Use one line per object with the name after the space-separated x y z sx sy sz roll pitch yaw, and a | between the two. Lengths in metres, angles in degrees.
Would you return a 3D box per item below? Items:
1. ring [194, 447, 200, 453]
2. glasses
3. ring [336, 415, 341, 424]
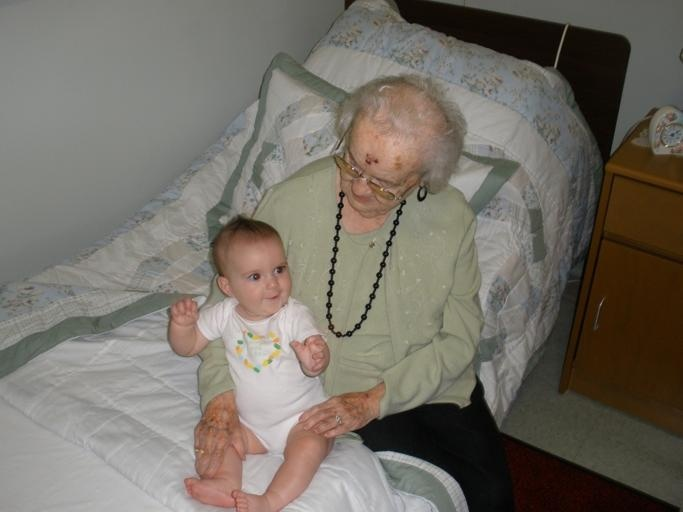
-0.378 0.513 1.509 0.010 0.004 0.015 6 11 -25 | ring
0.111 -0.266 1.582 0.129 0.153 0.116 38 44 1 | glasses
-0.007 0.446 1.554 0.008 0.021 0.015 -2 -14 20 | ring
